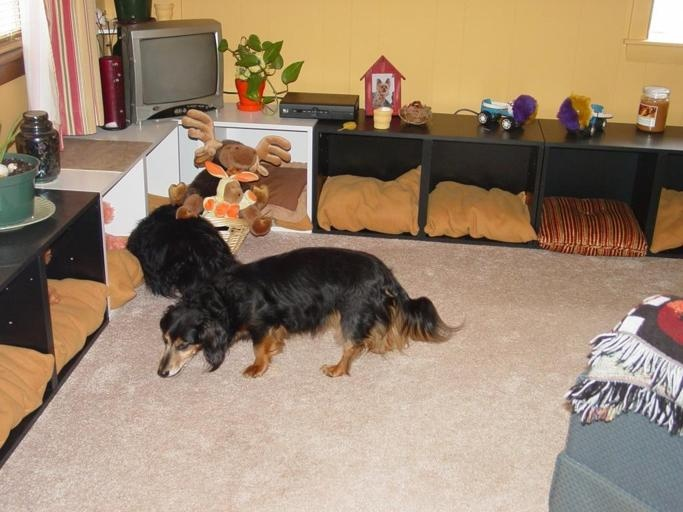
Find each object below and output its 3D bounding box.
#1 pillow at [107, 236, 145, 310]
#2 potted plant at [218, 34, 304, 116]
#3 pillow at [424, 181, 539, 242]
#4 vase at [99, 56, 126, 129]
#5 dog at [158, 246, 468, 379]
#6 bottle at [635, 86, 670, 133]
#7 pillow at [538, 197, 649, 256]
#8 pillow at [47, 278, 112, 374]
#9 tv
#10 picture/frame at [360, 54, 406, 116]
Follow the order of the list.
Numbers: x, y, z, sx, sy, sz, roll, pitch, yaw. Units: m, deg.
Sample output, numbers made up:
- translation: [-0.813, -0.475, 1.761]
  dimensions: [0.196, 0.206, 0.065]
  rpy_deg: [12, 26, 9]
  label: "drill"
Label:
- translation: [-1.095, 0.088, 2.581]
  dimensions: [0.230, 0.269, 0.094]
  rpy_deg: [-25, -7, -45]
  label: "pillow"
- translation: [-0.478, -1.131, 3.327]
  dimensions: [0.536, 0.491, 0.586]
  rpy_deg: [11, 14, 26]
  label: "potted plant"
- translation: [0.817, -0.247, 3.164]
  dimensions: [0.412, 0.131, 0.416]
  rpy_deg: [5, 28, 7]
  label: "pillow"
- translation: [-1.234, -0.869, 2.851]
  dimensions: [0.121, 0.374, 0.065]
  rpy_deg: [-8, 22, -24]
  label: "vase"
- translation: [0.048, 0.136, 2.287]
  dimensions: [1.447, 0.613, 0.513]
  rpy_deg: [-3, 13, -2]
  label: "dog"
- translation: [1.825, -0.847, 3.093]
  dimensions: [0.155, 0.250, 0.114]
  rpy_deg: [11, 22, 22]
  label: "bottle"
- translation: [1.467, -0.175, 3.176]
  dimensions: [0.622, 0.237, 0.383]
  rpy_deg: [5, 22, 6]
  label: "pillow"
- translation: [-1.106, 0.271, 2.224]
  dimensions: [0.281, 0.077, 0.307]
  rpy_deg: [14, 34, -15]
  label: "pillow"
- translation: [-0.976, -1.050, 2.983]
  dimensions: [0.495, 0.443, 0.307]
  rpy_deg: [-22, 43, -34]
  label: "tv"
- translation: [0.250, -1.023, 3.239]
  dimensions: [0.223, 0.355, 0.128]
  rpy_deg: [2, 20, 0]
  label: "picture/frame"
